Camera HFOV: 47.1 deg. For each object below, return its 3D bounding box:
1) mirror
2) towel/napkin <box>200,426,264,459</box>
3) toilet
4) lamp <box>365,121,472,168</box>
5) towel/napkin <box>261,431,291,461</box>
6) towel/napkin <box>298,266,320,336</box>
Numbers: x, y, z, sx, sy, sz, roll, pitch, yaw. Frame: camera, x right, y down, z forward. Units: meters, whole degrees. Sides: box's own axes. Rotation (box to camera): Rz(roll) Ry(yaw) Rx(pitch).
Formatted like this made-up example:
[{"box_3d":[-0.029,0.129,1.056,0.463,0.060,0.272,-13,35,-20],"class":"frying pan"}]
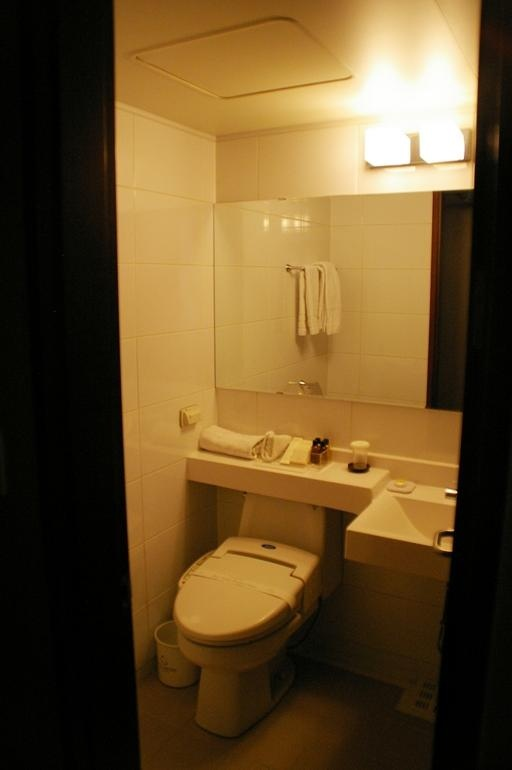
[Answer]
[{"box_3d":[0.306,-0.294,1.939,0.576,0.587,0.005,4,7,32],"class":"mirror"},{"box_3d":[-0.099,0.221,2.212,0.275,0.085,0.093,6,11,37],"class":"towel/napkin"},{"box_3d":[-0.007,0.668,1.918,0.303,0.772,0.597,9,17,30],"class":"toilet"},{"box_3d":[0.474,-0.724,1.776,0.334,0.133,0.084,6,11,37],"class":"lamp"},{"box_3d":[0.068,0.226,2.112,0.121,0.089,0.077,3,9,24],"class":"towel/napkin"},{"box_3d":[0.173,-0.305,2.063,0.040,0.210,0.136,0,7,-6],"class":"towel/napkin"}]
